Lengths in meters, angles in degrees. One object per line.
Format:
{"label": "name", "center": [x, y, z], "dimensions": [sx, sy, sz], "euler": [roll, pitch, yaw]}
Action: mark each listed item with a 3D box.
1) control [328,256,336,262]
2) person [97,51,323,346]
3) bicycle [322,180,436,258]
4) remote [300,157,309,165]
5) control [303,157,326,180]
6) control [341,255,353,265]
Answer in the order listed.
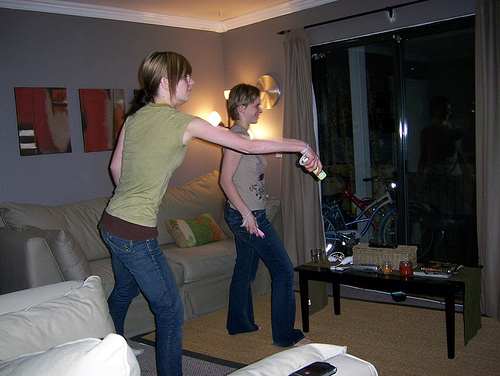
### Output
{"label": "control", "center": [0.680, 0.587, 3.178], "dimensions": [0.037, 0.018, 0.055], "euler": [-1, 17, 21]}
{"label": "person", "center": [-0.291, 0.229, 2.147], "dimensions": [1.204, 1.854, 0.751], "euler": [7, 10, 15]}
{"label": "bicycle", "center": [1.260, 0.361, 4.227], "dimensions": [1.317, 0.881, 0.607], "euler": [-6, 17, 24]}
{"label": "remote", "center": [0.307, -0.158, 2.179], "dimensions": [0.039, 0.031, 0.011], "euler": [-29, 22, 37]}
{"label": "control", "center": [0.379, -0.113, 2.289], "dimensions": [0.035, 0.171, 0.087], "euler": [-38, 13, 30]}
{"label": "control", "center": [0.786, 0.586, 3.090], "dimensions": [0.111, 0.048, 0.036], "euler": [-10, 2, -41]}
